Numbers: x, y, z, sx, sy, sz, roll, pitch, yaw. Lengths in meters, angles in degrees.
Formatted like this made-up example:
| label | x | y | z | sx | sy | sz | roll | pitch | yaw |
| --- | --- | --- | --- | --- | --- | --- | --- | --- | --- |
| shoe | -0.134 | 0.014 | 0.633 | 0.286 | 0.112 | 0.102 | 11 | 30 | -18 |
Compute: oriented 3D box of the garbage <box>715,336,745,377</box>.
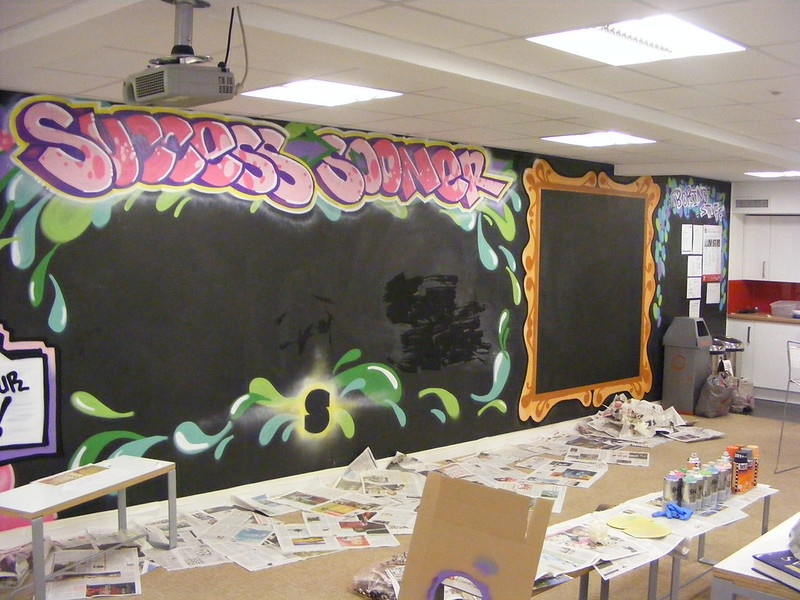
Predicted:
| label | x | y | z | sx | sy | sz | roll | pitch | yaw |
| --- | --- | --- | --- | --- | --- | --- | --- | --- | --- |
| garbage | 4.693 | 0.897 | 9.158 | 0.248 | 0.369 | 0.237 | 1 | -6 | -15 |

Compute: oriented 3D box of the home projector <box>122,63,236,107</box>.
| label | x | y | z | sx | sy | sz | roll | pitch | yaw |
| --- | --- | --- | --- | --- | --- | --- | --- | --- | --- |
| home projector | -1.070 | -1.012 | 3.064 | 0.456 | 0.141 | 0.443 | 3 | 11 | 37 |
